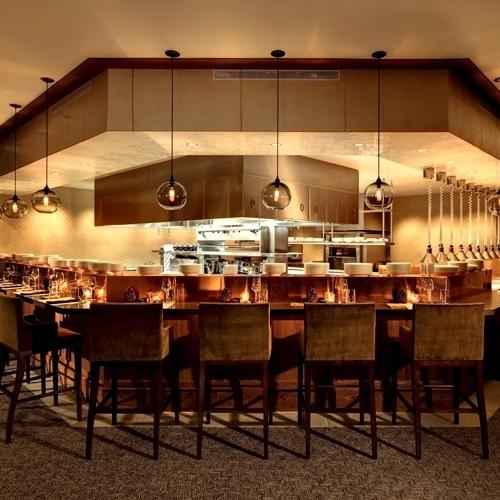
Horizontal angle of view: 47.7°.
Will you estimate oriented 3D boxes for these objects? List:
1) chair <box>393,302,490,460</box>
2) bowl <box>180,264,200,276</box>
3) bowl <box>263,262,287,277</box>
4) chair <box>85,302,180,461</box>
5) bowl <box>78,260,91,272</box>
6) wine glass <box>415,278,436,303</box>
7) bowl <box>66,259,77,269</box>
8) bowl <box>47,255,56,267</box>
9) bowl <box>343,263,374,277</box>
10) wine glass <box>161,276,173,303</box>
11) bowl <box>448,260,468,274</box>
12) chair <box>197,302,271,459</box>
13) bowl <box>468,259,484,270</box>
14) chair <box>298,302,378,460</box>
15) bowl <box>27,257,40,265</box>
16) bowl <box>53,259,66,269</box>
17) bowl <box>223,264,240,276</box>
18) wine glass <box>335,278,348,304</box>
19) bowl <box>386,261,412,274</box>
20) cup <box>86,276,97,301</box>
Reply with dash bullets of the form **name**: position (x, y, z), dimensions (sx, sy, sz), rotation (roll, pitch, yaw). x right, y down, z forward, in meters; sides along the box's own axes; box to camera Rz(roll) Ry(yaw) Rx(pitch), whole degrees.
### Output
- **chair**: position (1.565, 0.959, 4.585), dimensions (0.751, 1.182, 1.027), rotation (3, 14, 13)
- **bowl**: position (-0.577, 0.193, 5.473), dimensions (0.129, 0.069, 0.130), rotation (-3, 1, 0)
- **bowl**: position (0.221, 0.191, 5.555), dimensions (0.161, 0.095, 0.157), rotation (0, -3, 0)
- **chair**: position (-0.971, 1.007, 4.656), dimensions (0.834, 1.152, 0.807), rotation (1, 0, -39)
- **bowl**: position (-1.782, 0.170, 6.081), dimensions (0.150, 0.102, 0.149), rotation (3, 4, 0)
- **wine glass**: position (1.585, 0.350, 5.102), dimensions (0.170, 0.243, 0.512), rotation (4, 14, 17)
- **bowl**: position (-2.037, 0.163, 6.488), dimensions (0.120, 0.091, 0.122), rotation (1, 5, 0)
- **bowl**: position (-2.551, 0.150, 7.235), dimensions (0.122, 0.140, 0.123), rotation (0, -3, 0)
- **bowl**: position (1.068, 0.190, 5.516), dimensions (0.284, 0.161, 0.182), rotation (-1, 13, 0)
- **wine glass**: position (-0.754, 0.379, 5.152), dimensions (0.095, 0.199, 0.385), rotation (-3, 14, -12)
- **bowl**: position (2.273, 0.177, 6.163), dimensions (0.207, 0.123, 0.210), rotation (1, -2, 0)
- **chair**: position (-0.130, 0.947, 4.563), dimensions (0.605, 1.172, 0.900), rotation (-1, 13, -1)
- **bowl**: position (2.902, 0.171, 7.156), dimensions (0.216, 0.134, 0.215), rotation (0, -6, 0)
- **chair**: position (0.757, 0.997, 4.526), dimensions (0.614, 1.139, 0.705), rotation (-3, -7, 10)
- **bowl**: position (-2.997, 0.148, 7.830), dimensions (0.179, 0.045, 0.183), rotation (1, 7, 0)
- **bowl**: position (-2.243, 0.170, 6.647), dimensions (0.127, 0.075, 0.129), rotation (-1, -2, 0)
- **bowl**: position (-0.187, 0.196, 5.489), dimensions (0.106, 0.074, 0.108), rotation (0, 3, 0)
- **wine glass**: position (0.823, 0.352, 5.122), dimensions (0.097, 0.200, 0.260), rotation (-1, 13, -2)
- **bowl**: position (1.447, 0.164, 5.513), dimensions (0.222, 0.127, 0.259), rotation (3, 14, 14)
- **cup**: position (-1.492, 0.373, 5.320), dimensions (0.107, 0.169, 0.342), rotation (-5, 14, -17)
